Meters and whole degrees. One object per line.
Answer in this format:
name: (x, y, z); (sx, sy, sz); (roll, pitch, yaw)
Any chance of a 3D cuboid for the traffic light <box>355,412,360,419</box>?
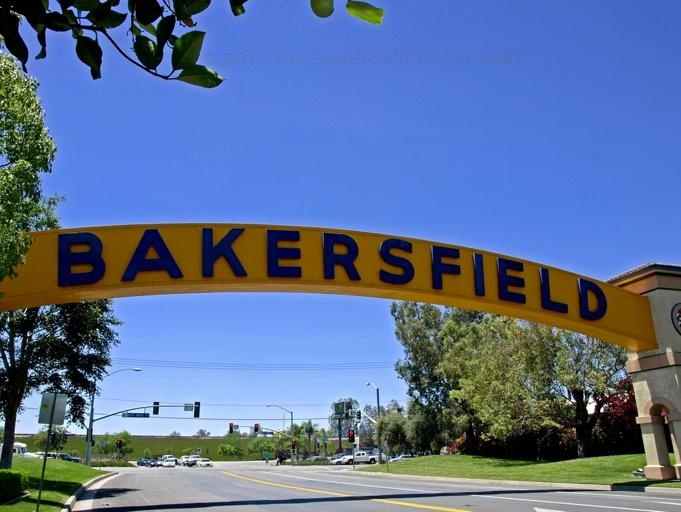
traffic light: (1.664, 15.007, 53.729); (0.322, 0.580, 1.198); (2, -20, -8)
